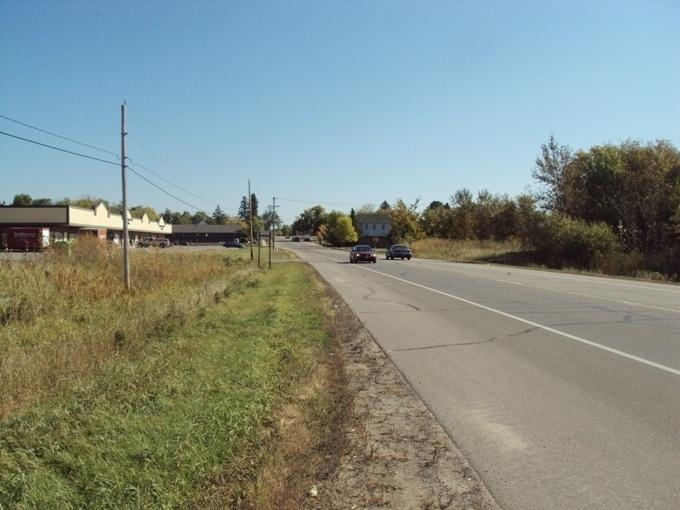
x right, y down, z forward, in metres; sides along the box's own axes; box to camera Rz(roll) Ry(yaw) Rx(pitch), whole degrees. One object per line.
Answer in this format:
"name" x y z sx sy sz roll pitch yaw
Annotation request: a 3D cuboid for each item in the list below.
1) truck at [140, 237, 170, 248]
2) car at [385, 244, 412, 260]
"truck" -27.593 -1.767 91.099 3.494 1.539 2.207 3 1 6
"car" 5.328 -0.216 55.170 1.417 1.331 3.655 -1 -3 0
